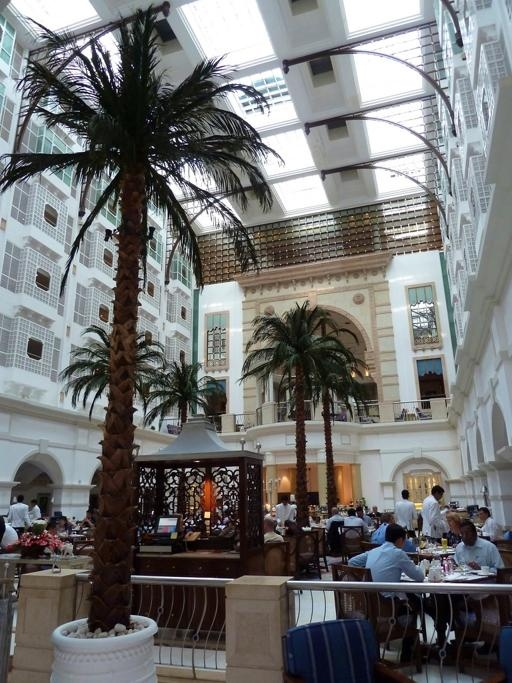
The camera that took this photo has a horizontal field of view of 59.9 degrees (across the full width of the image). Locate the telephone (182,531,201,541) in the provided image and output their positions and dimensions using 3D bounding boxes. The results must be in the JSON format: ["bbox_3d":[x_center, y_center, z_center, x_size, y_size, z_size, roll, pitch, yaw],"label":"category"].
[{"bbox_3d":[-0.944,2.910,6.609,0.175,0.046,0.168,-2,11,8],"label":"telephone"}]

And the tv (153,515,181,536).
[{"bbox_3d":[-1.269,2.668,6.568,0.405,0.205,0.350,-4,11,8],"label":"tv"}]
